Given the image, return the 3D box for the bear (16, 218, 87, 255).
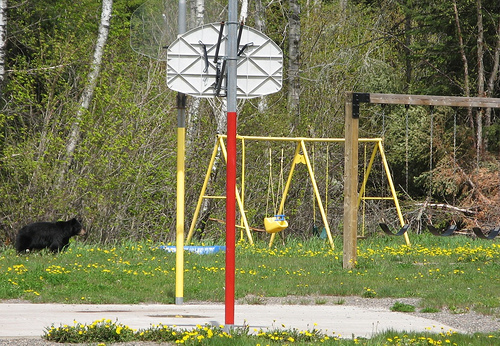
[{"bbox_3d":[-6.317,1.967,35.072,2.048,1.362,0.756,-1,18,-7],"label":"bear"}]
